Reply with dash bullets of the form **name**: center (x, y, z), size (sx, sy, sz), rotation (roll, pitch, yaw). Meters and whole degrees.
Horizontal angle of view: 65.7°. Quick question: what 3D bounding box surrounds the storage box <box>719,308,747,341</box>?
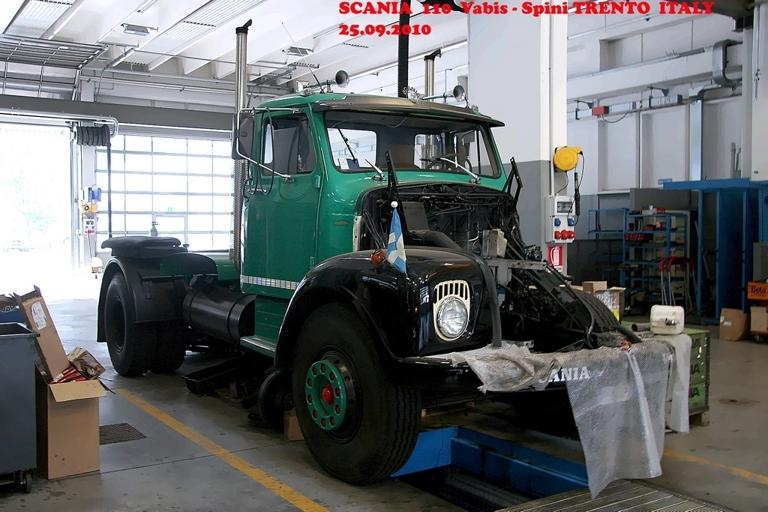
- **storage box**: center (5.796, 1.138, 9.828), size (0.475, 0.553, 0.416), rotation (7, 1, 30)

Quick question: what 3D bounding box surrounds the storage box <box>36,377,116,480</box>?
- **storage box**: center (-2.389, 1.344, 4.591), size (0.472, 0.864, 0.764), rotation (2, -1, -36)

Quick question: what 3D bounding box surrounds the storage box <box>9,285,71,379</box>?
- **storage box**: center (-2.635, 0.619, 4.630), size (0.359, 0.635, 0.243), rotation (1, 5, 29)

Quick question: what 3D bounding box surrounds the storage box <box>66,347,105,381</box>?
- **storage box**: center (-2.381, 0.863, 4.847), size (0.201, 0.301, 0.206), rotation (-24, 41, -29)

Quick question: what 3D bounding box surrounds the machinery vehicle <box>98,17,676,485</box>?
- **machinery vehicle**: center (-0.572, 0.093, 6.325), size (2.934, 3.346, 6.324), rotation (2, 0, -35)
